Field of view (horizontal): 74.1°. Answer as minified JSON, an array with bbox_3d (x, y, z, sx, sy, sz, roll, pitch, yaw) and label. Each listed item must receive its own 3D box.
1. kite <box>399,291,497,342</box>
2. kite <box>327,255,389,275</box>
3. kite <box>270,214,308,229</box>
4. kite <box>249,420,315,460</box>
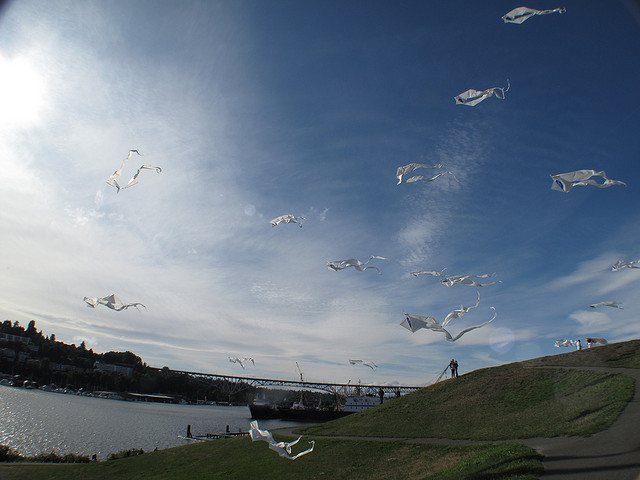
[{"bbox_3d":[10.393,6.391,33.877,7.067,2.387,3.396,-4,-7,10],"label":"kite"},{"bbox_3d":[3.189,2.050,32.978,5.854,1.731,1.417,0,-10,3],"label":"kite"},{"bbox_3d":[-2.077,-1.180,24.444,2.017,0.563,1.400,-1,-35,-25],"label":"kite"},{"bbox_3d":[-2.146,11.927,24.797,3.543,1.125,1.748,12,-4,3],"label":"kite"}]
